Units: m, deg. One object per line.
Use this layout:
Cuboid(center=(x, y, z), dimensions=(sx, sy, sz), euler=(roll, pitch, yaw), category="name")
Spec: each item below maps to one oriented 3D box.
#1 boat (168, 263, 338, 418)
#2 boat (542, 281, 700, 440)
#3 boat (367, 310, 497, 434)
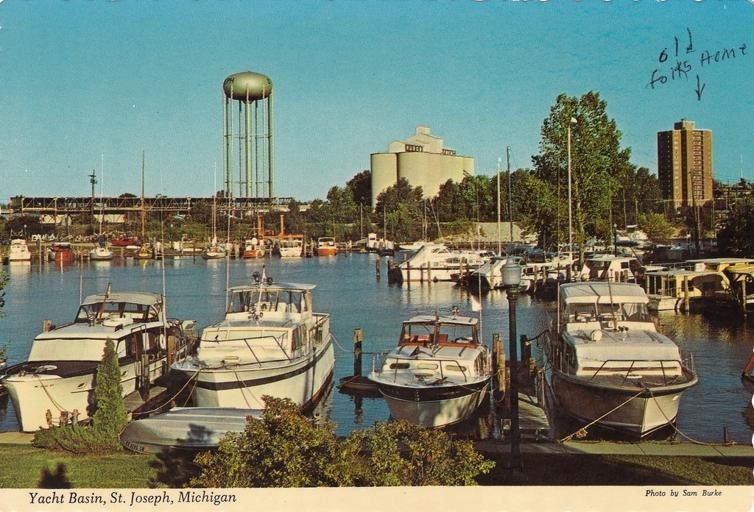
Cuboid(center=(-5.914, 3.960, 43.482), dimensions=(5.674, 6.185, 13.662), euler=(1, -1, 4), category="boat")
Cuboid(center=(9.428, 3.971, 36.366), dimensions=(4.506, 5.171, 5.366), euler=(0, 0, -7), category="boat")
Cuboid(center=(4.673, 4.813, 36.952), dimensions=(4.623, 4.429, 10.228), euler=(-1, 1, 4), category="boat")
